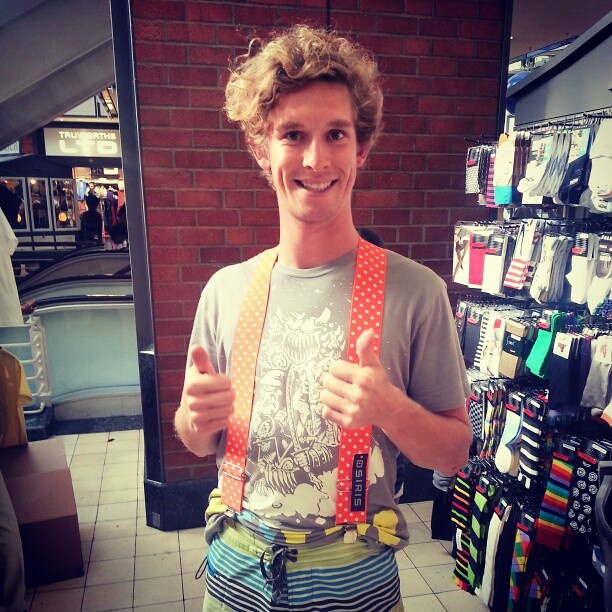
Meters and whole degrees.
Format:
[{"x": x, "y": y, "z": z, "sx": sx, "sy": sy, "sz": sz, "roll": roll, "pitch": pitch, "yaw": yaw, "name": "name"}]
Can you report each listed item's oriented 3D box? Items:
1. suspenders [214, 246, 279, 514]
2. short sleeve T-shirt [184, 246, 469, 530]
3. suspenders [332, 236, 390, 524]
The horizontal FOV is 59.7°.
[{"x": -0.137, "y": 0.174, "z": 1.144, "sx": 0.182, "sy": 0.464, "sz": 0.083, "roll": 3, "pitch": -4, "yaw": -6, "name": "suspenders"}, {"x": 0.021, "y": 0.195, "z": 1.331, "sx": 0.726, "sy": 0.716, "sz": 0.349, "roll": 0, "pitch": -8, "yaw": 14, "name": "short sleeve T-shirt"}, {"x": 0.129, "y": 0.161, "z": 1.209, "sx": 0.099, "sy": 0.598, "sz": 0.246, "roll": 1, "pitch": 9, "yaw": 9, "name": "suspenders"}]
